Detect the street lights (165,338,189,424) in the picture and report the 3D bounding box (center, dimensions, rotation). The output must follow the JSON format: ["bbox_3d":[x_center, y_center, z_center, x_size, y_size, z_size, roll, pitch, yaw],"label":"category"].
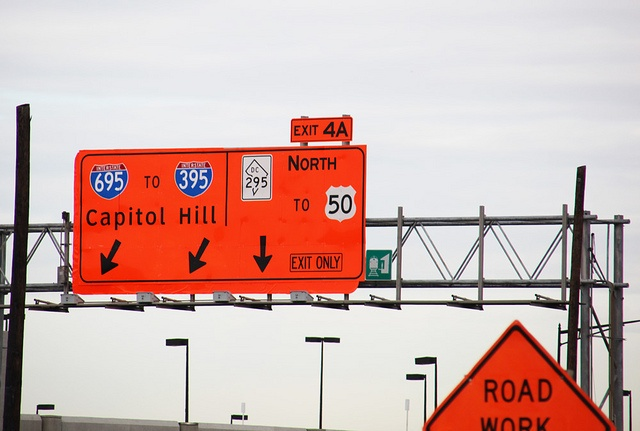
[{"bbox_3d":[-4.457,5.182,64.559,0.746,2.640,0.313,0,-9,-2],"label":"street lights"}]

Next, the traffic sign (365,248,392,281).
[{"bbox_3d":[1.650,1.459,60.960,0.759,0.917,0.325,2,-12,1],"label":"traffic sign"}]
